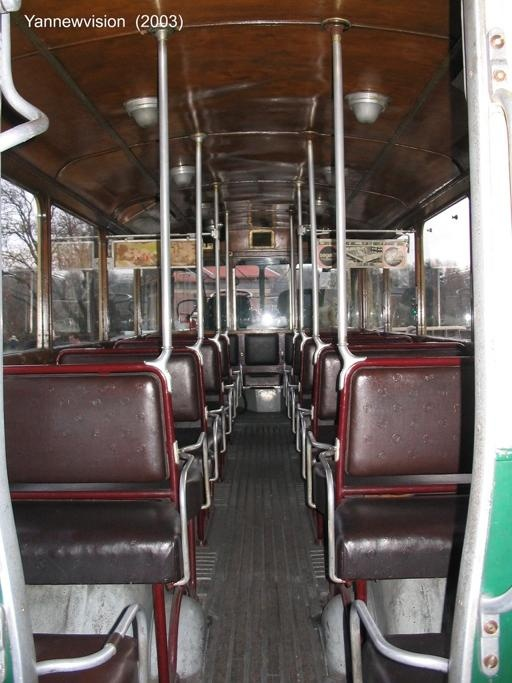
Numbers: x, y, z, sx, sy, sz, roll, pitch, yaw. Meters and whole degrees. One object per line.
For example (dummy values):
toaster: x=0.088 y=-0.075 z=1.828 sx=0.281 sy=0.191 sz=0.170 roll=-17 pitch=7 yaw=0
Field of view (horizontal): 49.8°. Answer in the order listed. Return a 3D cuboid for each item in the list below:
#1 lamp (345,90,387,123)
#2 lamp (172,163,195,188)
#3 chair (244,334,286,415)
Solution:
lamp: x=0.838 y=-1.735 z=4.167 sx=0.306 sy=0.184 sz=0.352 roll=0 pitch=3 yaw=14
lamp: x=-0.818 y=-1.839 z=6.134 sx=0.195 sy=0.144 sz=0.199 roll=-1 pitch=5 yaw=-10
chair: x=0.107 y=0.459 z=8.425 sx=0.644 sy=1.174 sz=0.358 roll=-1 pitch=3 yaw=-3
